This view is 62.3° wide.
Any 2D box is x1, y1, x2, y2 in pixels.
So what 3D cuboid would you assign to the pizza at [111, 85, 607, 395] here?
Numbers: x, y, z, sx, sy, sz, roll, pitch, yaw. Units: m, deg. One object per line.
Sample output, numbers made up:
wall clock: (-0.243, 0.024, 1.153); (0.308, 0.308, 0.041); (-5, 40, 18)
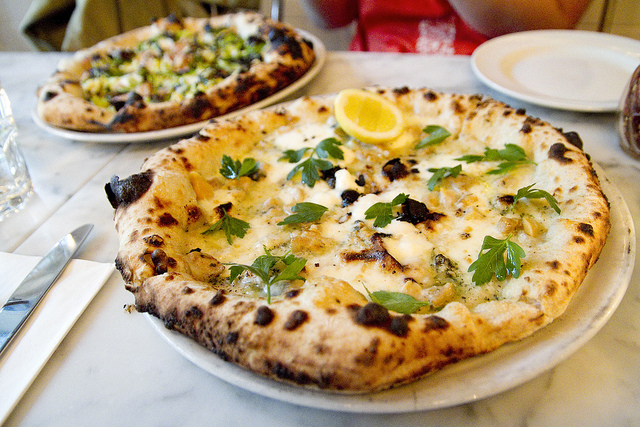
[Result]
pizza: (0.140, -0.016, 1.778); (1.592, 0.242, 1.188); (-15, 53, -6)
